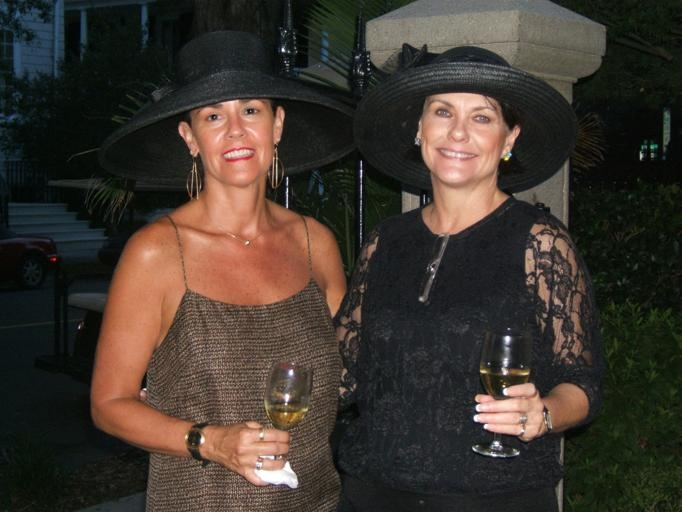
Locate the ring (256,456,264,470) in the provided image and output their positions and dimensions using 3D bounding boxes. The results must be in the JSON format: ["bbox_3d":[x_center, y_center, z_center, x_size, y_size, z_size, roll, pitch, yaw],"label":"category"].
[{"bbox_3d":[-0.342,0.872,2.972,0.032,0.048,0.051,4,31,3],"label":"ring"}]

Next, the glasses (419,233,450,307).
[{"bbox_3d":[0.443,0.052,3.330,0.090,0.415,0.062,2,-27,37],"label":"glasses"}]

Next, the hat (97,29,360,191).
[{"bbox_3d":[-0.554,-0.887,3.876,1.197,0.510,0.885,-5,-16,-46],"label":"hat"}]

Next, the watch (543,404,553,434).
[{"bbox_3d":[0.870,0.683,2.956,0.038,0.108,0.044,3,7,25],"label":"watch"}]

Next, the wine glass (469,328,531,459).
[{"bbox_3d":[0.722,0.597,3.116,0.272,0.558,0.211,0,6,2],"label":"wine glass"}]

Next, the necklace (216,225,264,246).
[{"bbox_3d":[-0.509,-0.120,3.555,0.178,0.051,0.078,18,11,7],"label":"necklace"}]

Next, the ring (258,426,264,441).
[{"bbox_3d":[-0.336,0.752,2.983,0.024,0.051,0.019,-2,7,-15],"label":"ring"}]

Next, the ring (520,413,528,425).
[{"bbox_3d":[0.757,0.674,2.919,0.035,0.038,0.027,-2,6,-1],"label":"ring"}]

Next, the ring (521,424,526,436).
[{"bbox_3d":[0.758,0.719,2.927,0.020,0.051,0.012,1,6,5],"label":"ring"}]
